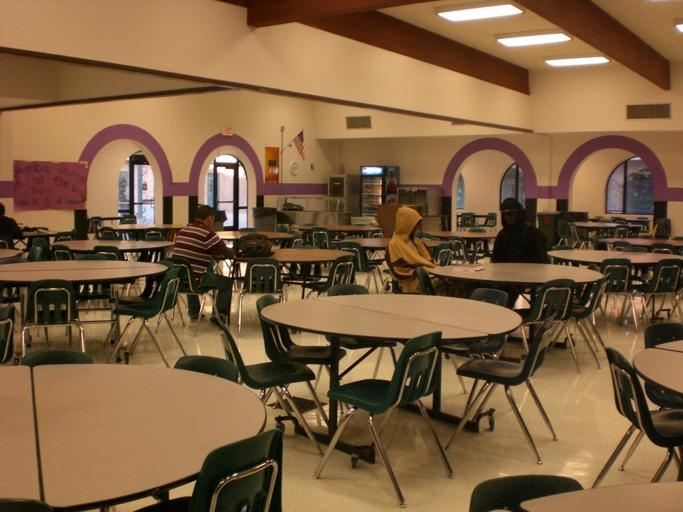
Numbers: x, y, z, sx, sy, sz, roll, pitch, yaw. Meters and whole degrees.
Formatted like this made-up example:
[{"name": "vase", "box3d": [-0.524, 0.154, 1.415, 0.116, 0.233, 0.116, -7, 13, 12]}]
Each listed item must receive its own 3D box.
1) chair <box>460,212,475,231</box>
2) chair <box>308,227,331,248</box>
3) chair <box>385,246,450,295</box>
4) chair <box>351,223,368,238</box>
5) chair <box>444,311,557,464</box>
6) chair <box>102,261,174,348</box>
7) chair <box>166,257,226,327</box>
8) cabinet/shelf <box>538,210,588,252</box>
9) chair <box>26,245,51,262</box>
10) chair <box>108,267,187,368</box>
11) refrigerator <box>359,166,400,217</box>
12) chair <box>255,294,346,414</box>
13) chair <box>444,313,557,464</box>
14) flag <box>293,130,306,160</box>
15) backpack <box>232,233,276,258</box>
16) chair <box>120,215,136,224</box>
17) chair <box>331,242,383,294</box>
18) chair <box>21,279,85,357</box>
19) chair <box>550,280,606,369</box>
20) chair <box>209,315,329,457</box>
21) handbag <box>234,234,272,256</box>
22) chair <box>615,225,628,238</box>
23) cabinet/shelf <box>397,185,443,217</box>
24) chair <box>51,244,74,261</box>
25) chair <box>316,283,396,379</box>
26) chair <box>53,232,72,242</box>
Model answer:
[{"name": "chair", "box3d": [3.644, -1.002, 16.428, 0.402, 0.540, 1.786, 2, 8, 11]}, {"name": "chair", "box3d": [-0.390, -0.343, 10.230, 0.343, 0.354, 0.469, 0, 6, 23]}, {"name": "chair", "box3d": [0.759, 0.170, 6.156, 0.472, 0.577, 0.454, -3, -3, 37]}, {"name": "chair", "box3d": [0.393, -0.536, 12.018, 0.288, 0.377, 0.329, 3, 14, 4]}, {"name": "chair", "box3d": [1.104, 0.936, 3.978, 0.634, 0.781, 0.620, 8, -5, 5]}, {"name": "chair", "box3d": [-1.882, 0.528, 5.519, 0.584, 0.809, 0.508, 2, 7, -3]}, {"name": "chair", "box3d": [-1.651, 0.409, 7.053, 0.536, 0.750, 0.615, -3, 2, -26]}, {"name": "cabinet/shelf", "box3d": [5.392, -0.563, 14.101, 0.746, 1.174, 0.815, -4, 7, -18]}, {"name": "chair", "box3d": [-3.898, -0.039, 7.338, 0.220, 0.302, 0.220, 0, -3, 4]}, {"name": "chair", "box3d": [-1.924, 0.575, 5.629, 0.600, 0.839, 0.599, 1, 4, -12]}, {"name": "refrigerator", "box3d": [1.113, -2.022, 17.360, 1.069, 1.452, 0.447, 0, 8, -2]}, {"name": "chair", "box3d": [-0.282, 0.612, 4.275, 0.647, 0.583, 0.510, -1, 2, 0]}, {"name": "chair", "box3d": [1.240, 0.829, 4.196, 0.712, 0.956, 0.992, 4, 8, 23]}, {"name": "flag", "box3d": [-1.232, -3.329, 16.841, 0.128, 0.866, 0.441, 7, 10, 40]}, {"name": "backpack", "box3d": [-1.156, -0.140, 7.436, 0.370, 0.211, 0.517, 2, -3, -10]}, {"name": "chair", "box3d": [-4.680, -0.803, 12.480, 0.294, 0.175, 1.105, -2, 8, -19]}, {"name": "chair", "box3d": [0.389, 0.299, 8.944, 0.589, 1.001, 0.722, -5, 5, 40]}, {"name": "chair", "box3d": [-2.544, 0.593, 5.003, 0.517, 0.780, 0.545, 0, -4, -26]}, {"name": "chair", "box3d": [2.524, 0.635, 6.062, 0.543, 0.898, 0.501, 0, 5, 27]}, {"name": "chair", "box3d": [-0.422, 0.804, 3.900, 0.715, 0.908, 0.634, -8, 8, 13]}, {"name": "handbag", "box3d": [-1.132, -0.140, 7.256, 0.327, 0.184, 0.457, 2, -1, -11]}, {"name": "chair", "box3d": [5.956, -0.536, 12.060, 0.225, 0.396, 0.258, 3, 12, 22]}, {"name": "cabinet/shelf", "box3d": [2.365, -1.668, 16.295, 1.324, 1.316, 0.934, 4, 7, 34]}, {"name": "chair", "box3d": [-3.406, -0.039, 6.928, 0.192, 0.196, 0.613, -4, 9, -30]}, {"name": "chair", "box3d": [0.222, 0.667, 4.485, 0.535, 0.720, 0.556, -7, -18, -5]}, {"name": "chair", "box3d": [-4.558, -0.326, 9.305, 0.215, 0.287, 0.202, -3, 10, -41]}]
